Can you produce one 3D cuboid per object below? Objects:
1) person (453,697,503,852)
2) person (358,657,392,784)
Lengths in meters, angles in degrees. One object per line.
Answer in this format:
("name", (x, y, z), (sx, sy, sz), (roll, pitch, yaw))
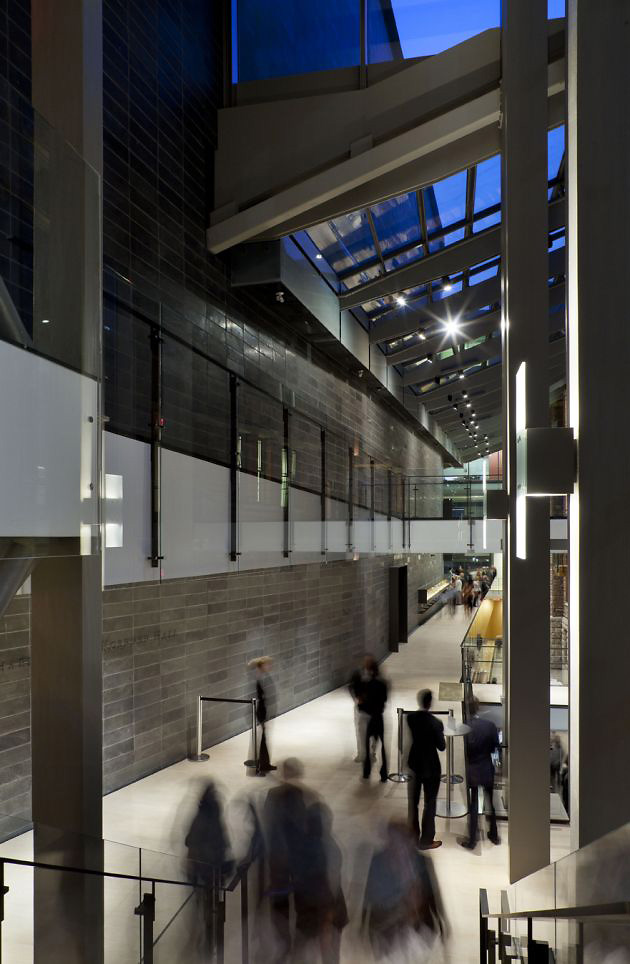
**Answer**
("person", (1.266, 2.206, 6.187), (0.295, 1.264, 0.339), (-9, 27, -3))
("person", (0.571, 2.296, 7.757), (0.273, 1.133, 1.027), (-1, -6, 4))
